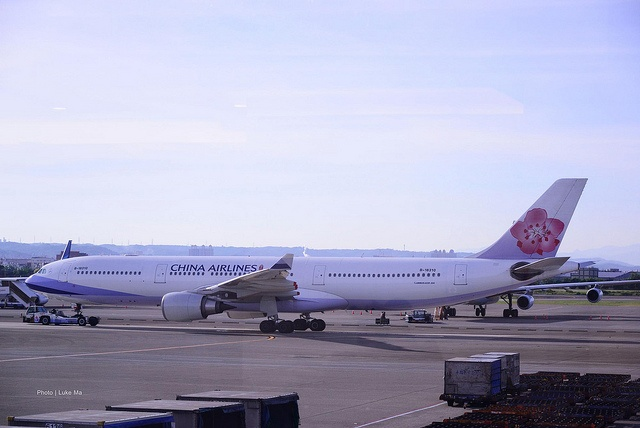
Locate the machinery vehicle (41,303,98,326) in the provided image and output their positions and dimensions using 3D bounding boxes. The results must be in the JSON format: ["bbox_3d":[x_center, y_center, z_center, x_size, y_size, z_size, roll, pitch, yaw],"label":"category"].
[{"bbox_3d":[-13.206,5.323,58.471,2.488,0.668,1.342,-1,-1,1],"label":"machinery vehicle"}]

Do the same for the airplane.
[{"bbox_3d":[0.225,2.760,63.513,30.271,7.290,24.956,-1,-4,11],"label":"airplane"}]

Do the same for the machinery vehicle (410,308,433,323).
[{"bbox_3d":[5.678,5.855,63.216,1.715,0.534,0.899,0,1,4],"label":"machinery vehicle"}]

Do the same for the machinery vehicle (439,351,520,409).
[{"bbox_3d":[5.314,5.371,36.558,1.805,1.106,2.973,0,2,24],"label":"machinery vehicle"}]
